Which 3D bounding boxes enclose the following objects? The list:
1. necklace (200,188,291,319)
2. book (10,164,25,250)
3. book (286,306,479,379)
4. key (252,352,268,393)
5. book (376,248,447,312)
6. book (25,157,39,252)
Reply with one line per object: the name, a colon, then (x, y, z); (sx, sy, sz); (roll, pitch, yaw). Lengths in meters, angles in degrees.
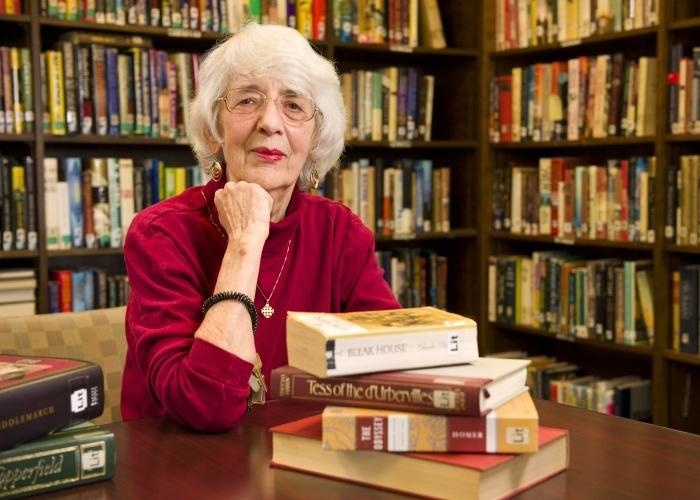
necklace: (-0.255, 0.016, 1.675); (0.285, 0.373, 0.035); (5, -17, -43)
book: (-1.312, -0.166, 2.815); (0.056, 0.327, 0.036); (-5, 9, -28)
book: (0.057, 0.159, 1.228); (0.202, 0.068, 0.159); (-3, 3, -23)
key: (-0.203, 0.285, 1.602); (0.052, 0.073, 0.021); (2, -5, 36)
book: (0.315, 0.132, 3.519); (0.305, 0.394, 0.282); (0, 3, 11)
book: (-1.276, -0.184, 2.831); (0.040, 0.364, 0.043); (-2, 8, -8)
